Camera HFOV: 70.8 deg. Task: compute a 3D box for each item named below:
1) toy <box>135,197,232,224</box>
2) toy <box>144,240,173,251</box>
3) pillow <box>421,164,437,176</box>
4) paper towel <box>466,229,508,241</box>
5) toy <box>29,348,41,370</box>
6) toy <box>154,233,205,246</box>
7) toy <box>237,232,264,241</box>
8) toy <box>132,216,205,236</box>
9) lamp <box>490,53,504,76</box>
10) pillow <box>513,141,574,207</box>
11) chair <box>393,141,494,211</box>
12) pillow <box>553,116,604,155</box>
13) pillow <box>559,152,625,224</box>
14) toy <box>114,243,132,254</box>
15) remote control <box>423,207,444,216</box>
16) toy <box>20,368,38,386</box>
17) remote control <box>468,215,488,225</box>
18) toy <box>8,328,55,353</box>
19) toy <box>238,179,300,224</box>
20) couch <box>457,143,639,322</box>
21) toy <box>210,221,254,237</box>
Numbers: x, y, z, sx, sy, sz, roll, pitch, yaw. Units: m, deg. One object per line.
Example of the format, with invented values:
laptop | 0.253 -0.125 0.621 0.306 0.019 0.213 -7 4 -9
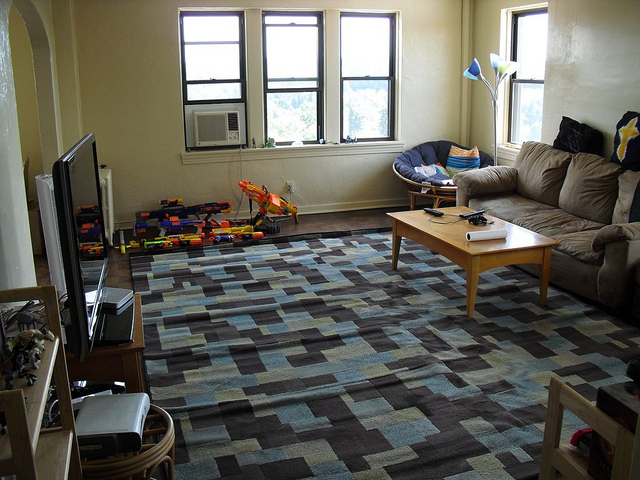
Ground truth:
toy | -1.921 -0.392 6.104 1.419 0.424 0.173 -6 14 -10
toy | -1.962 0.067 5.446 0.316 0.087 0.115 -9 17 -20
pillow | 1.631 -1.027 6.677 0.189 0.036 0.187 10 42 -18
paper towel | 1.512 -0.042 4.075 0.423 0.085 0.101 -4 1 -20
toy | -0.930 0.384 1.454 0.019 0.052 0.045 10 23 27
toy | -1.739 -0.008 5.592 0.433 0.084 0.234 -1 13 -4
toy | -0.898 -0.054 5.758 0.329 0.077 0.184 -7 16 -12
toy | -1.988 -0.189 5.944 0.889 0.214 0.482 -2 16 5
lamp | 2.353 -2.315 5.985 0.134 0.274 0.365 2 17 20
pillow | 2.925 -0.788 5.560 0.409 0.691 0.742 2 19 -34
chair | 1.798 -0.989 6.604 1.452 1.000 1.215 0 16 -3
pillow | 3.062 -1.195 5.301 0.226 0.391 0.602 -20 35 -13
pillow | 2.874 -0.521 4.788 0.298 0.653 0.706 11 11 -36
toy | -2.407 0.090 5.486 0.166 0.095 0.277 -15 20 -36
remote control | 1.211 -0.300 4.816 0.083 0.025 0.152 3 18 -41
toy | -0.897 0.420 1.380 0.027 0.027 0.068 -11 35 -41
remote control | 1.595 -0.200 4.525 0.170 0.070 0.107 -5 16 -5
toy | -0.978 0.339 1.518 0.133 0.063 0.122 -15 19 -35
toy | -0.667 -0.582 6.172 0.767 0.598 0.764 3 12 -1
couch | 2.649 -0.251 4.737 1.150 1.327 2.282 -8 16 -15
toy | -1.164 -0.140 5.851 0.689 0.246 0.197 -1 6 -3
